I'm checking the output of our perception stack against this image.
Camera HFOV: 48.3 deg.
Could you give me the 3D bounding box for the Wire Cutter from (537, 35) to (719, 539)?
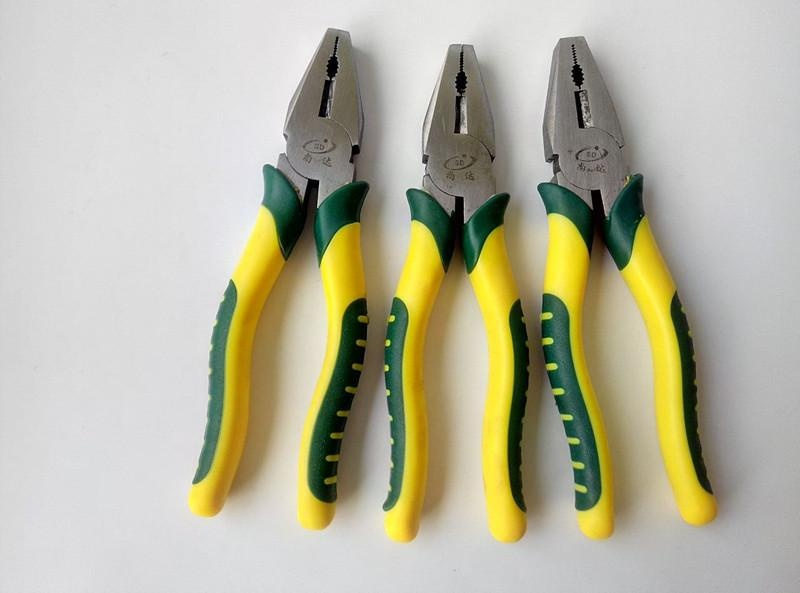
[{"bbox_3d":[0.443,-0.064,1.849,0.215,1.125,0.090,-11,-10,-2],"label":"Wire Cutter"}]
